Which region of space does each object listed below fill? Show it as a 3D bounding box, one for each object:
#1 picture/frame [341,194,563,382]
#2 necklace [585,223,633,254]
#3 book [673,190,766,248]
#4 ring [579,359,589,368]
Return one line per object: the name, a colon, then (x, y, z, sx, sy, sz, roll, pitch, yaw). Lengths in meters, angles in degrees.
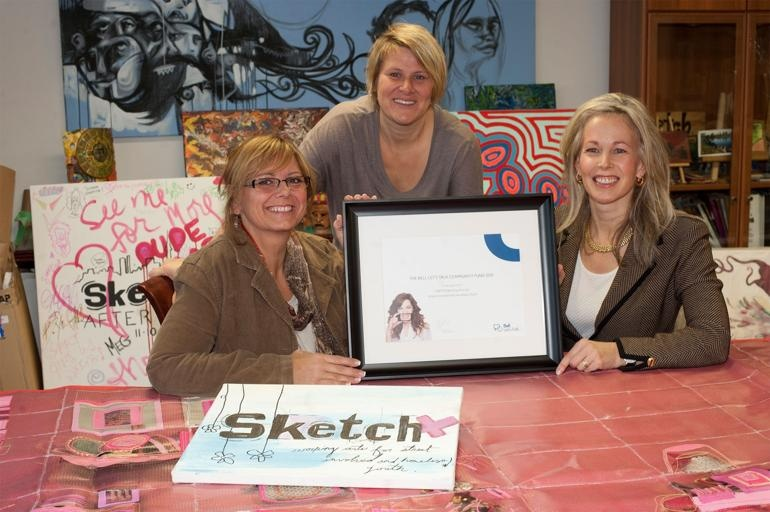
picture/frame: (0.182, 0.108, 1.657, 0.518, 0.422, 0.039, -3, -9, 0)
necklace: (0.834, -0.052, 2.177, 0.101, 0.113, 0.028, -9, -23, 13)
book: (2.062, -0.229, 3.507, 0.429, 0.393, 0.149, 0, 3, 5)
ring: (0.573, 0.310, 1.673, 0.025, 0.023, 0.007, 3, -7, -5)
